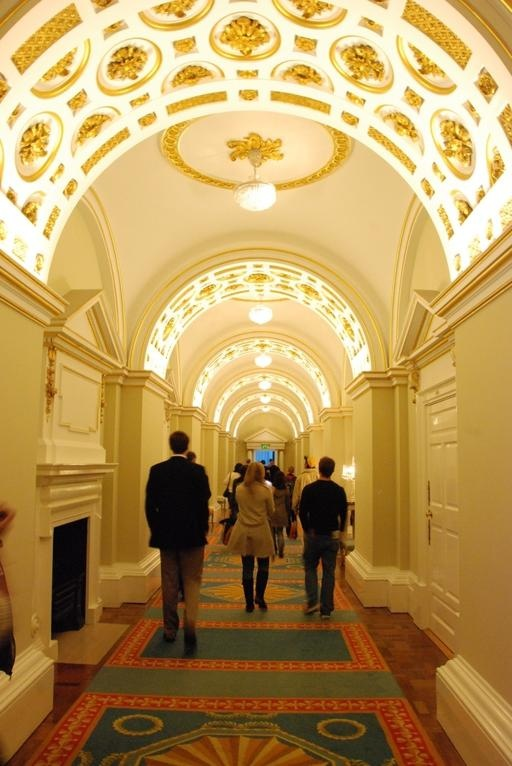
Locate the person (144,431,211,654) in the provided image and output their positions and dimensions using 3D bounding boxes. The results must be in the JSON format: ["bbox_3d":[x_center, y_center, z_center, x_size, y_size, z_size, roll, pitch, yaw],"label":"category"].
[{"bbox_3d":[-0.726,1.380,4.311,0.551,1.883,0.525,1,-11,-11],"label":"person"}]

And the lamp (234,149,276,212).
[{"bbox_3d":[-0.041,-2.105,4.900,0.325,0.503,0.332,-1,-7,18],"label":"lamp"}]

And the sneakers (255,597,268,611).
[{"bbox_3d":[0.028,2.631,5.635,0.085,0.155,0.152,-7,36,2],"label":"sneakers"}]

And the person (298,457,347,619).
[{"bbox_3d":[0.674,1.656,5.098,0.462,1.677,0.570,-2,-11,6],"label":"person"}]
